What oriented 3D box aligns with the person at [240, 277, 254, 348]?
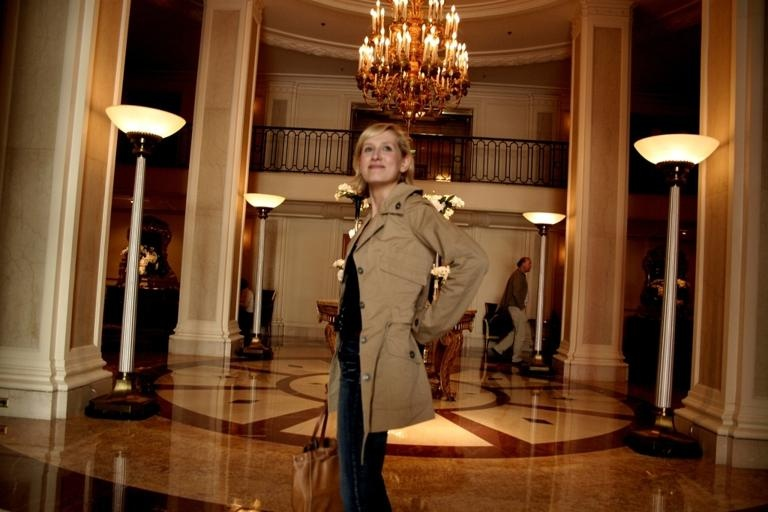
[{"bbox_3d":[-2.598,1.044,12.489,0.260,1.244,0.604,2,0,-12],"label":"person"}]
